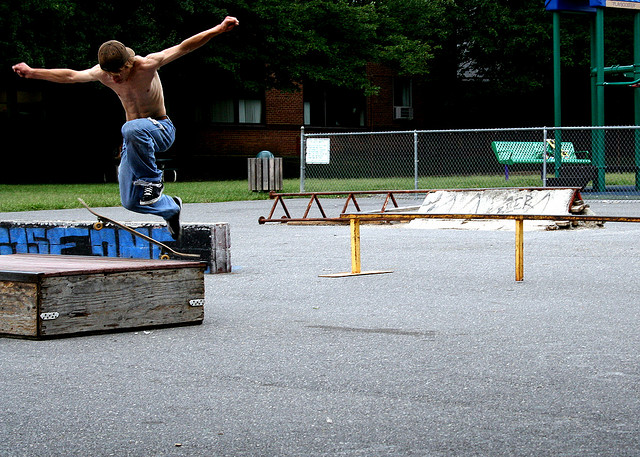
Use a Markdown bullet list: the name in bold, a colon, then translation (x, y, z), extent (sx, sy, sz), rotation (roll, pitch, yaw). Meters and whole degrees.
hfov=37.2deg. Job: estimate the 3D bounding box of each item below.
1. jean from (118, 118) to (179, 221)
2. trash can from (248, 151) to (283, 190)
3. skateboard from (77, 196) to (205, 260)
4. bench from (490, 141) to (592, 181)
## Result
- **jean**: translation (-1.951, -0.654, 10.829), extent (0.657, 1.212, 0.730), rotation (-3, 9, -10)
- **trash can**: translation (-1.729, -1.667, 27.680), extent (1.186, 1.041, 1.090), rotation (-3, 5, -26)
- **skateboard**: translation (-2.511, 0.004, 13.394), extent (2.108, 0.292, 0.448), rotation (21, 0, 7)
- **bench**: translation (6.854, -2.207, 30.206), extent (2.432, 1.293, 5.434), rotation (-1, 8, -1)
